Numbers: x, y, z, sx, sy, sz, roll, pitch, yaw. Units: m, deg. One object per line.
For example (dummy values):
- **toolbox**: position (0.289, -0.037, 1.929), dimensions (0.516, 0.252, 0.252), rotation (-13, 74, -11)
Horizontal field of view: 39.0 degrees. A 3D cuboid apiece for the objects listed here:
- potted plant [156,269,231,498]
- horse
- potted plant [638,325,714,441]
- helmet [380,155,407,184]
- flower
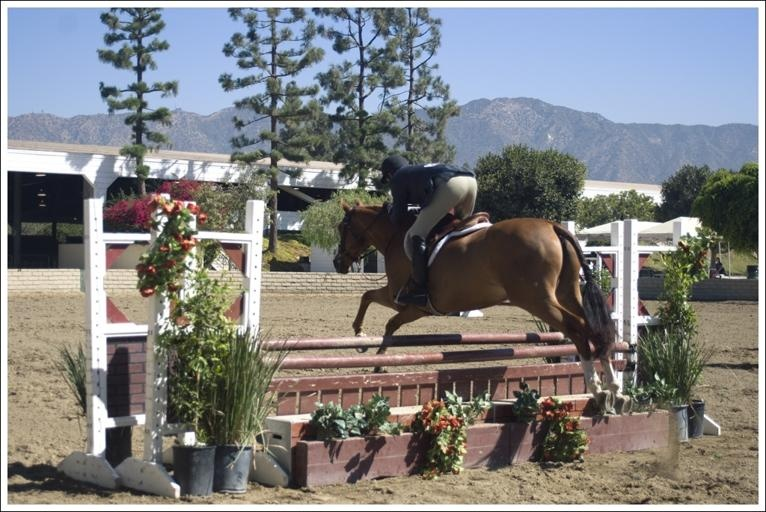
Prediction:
- **potted plant**: position (-2.364, 1.616, 13.907), dimensions (0.937, 2.752, 0.833), rotation (-2, 12, -12)
- **horse**: position (1.140, 0.633, 15.403), dimensions (4.264, 2.949, 1.049), rotation (0, 2, 28)
- **potted plant**: position (4.425, 1.794, 16.127), dimensions (1.407, 1.771, 1.082), rotation (0, -5, 0)
- **helmet**: position (0.130, -1.280, 15.886), dimensions (0.400, 0.400, 0.314), rotation (6, 6, 32)
- **flower**: position (-2.744, -0.120, 13.938), dimensions (0.888, 1.319, 0.380), rotation (-3, 13, -15)
